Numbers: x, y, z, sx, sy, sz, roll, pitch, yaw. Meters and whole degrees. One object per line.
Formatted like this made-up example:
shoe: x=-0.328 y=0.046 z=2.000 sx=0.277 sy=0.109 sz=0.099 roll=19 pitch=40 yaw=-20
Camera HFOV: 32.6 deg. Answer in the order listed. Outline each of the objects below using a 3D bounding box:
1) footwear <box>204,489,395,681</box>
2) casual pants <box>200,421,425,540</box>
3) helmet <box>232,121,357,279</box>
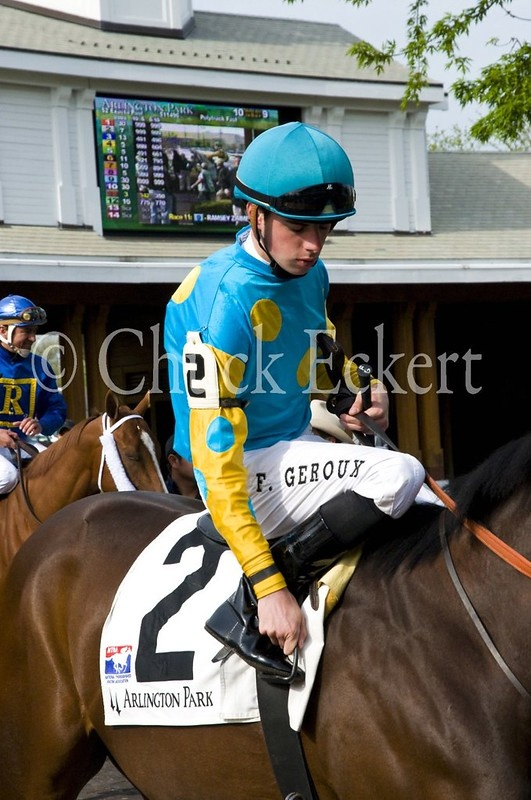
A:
footwear: x=0.066 y=0.380 z=1.841 sx=0.390 sy=0.373 sz=0.175 roll=-6 pitch=7 yaw=-3
casual pants: x=0.139 y=0.161 z=1.907 sx=0.291 sy=0.109 sz=0.287 roll=-7 pitch=-24 yaw=22
helmet: x=0.133 y=-0.471 z=2.084 sx=0.276 sy=0.345 sz=0.340 roll=-1 pitch=5 yaw=-31
